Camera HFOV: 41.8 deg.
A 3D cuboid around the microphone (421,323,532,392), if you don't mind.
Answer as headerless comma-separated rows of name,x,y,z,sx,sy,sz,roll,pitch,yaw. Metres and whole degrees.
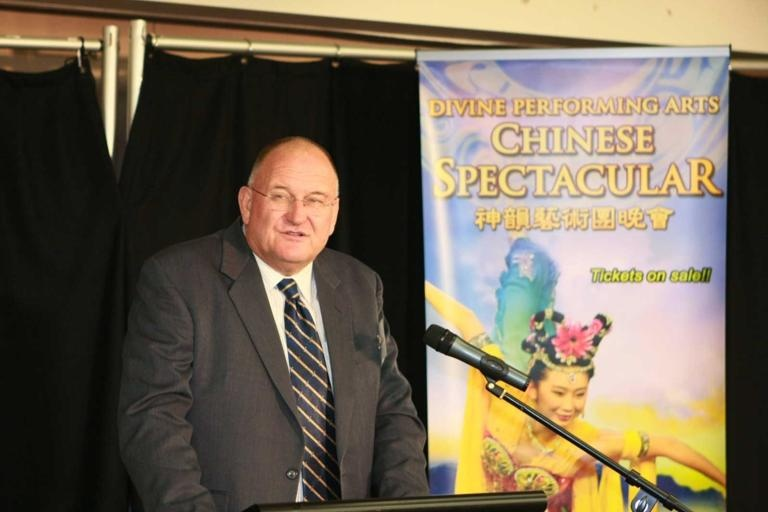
microphone,0.517,0.550,5.434,0.517,0.167,0.131,30,-34,1
